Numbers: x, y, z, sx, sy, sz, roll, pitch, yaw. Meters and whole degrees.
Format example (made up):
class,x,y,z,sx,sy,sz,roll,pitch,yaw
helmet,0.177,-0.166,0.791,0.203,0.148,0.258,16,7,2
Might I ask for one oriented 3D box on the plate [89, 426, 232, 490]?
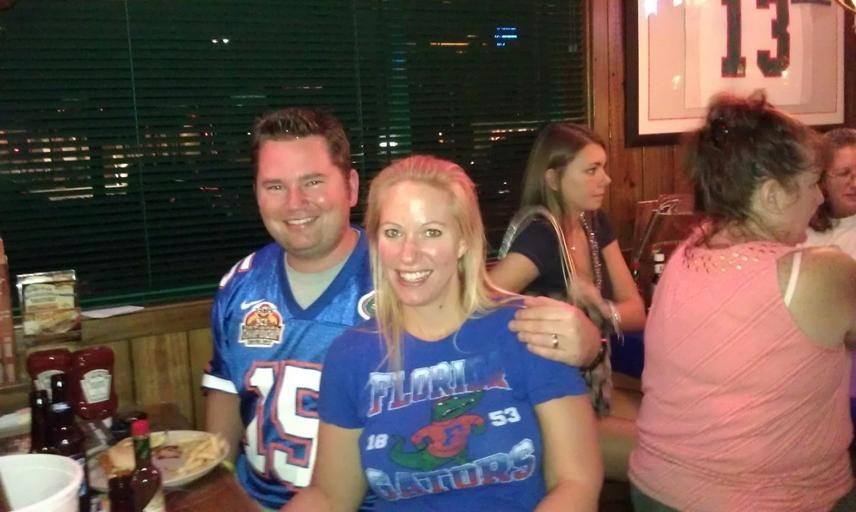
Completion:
class,x,y,z,sx,sy,sz,roll,pitch,yaw
plate,-0.869,0.649,2.337,0.404,0.164,0.477,2,11,-5

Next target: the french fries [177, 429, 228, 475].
class,x,y,z,sx,sy,sz,roll,pitch,yaw
french fries,-0.773,0.652,2.268,0.112,0.026,0.105,-2,26,2
